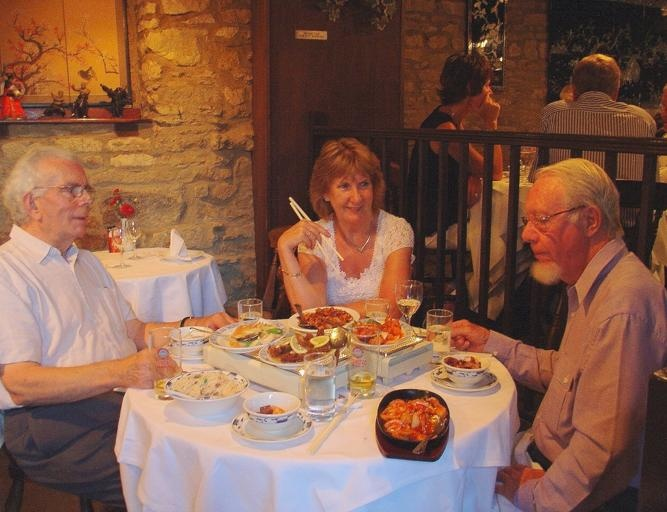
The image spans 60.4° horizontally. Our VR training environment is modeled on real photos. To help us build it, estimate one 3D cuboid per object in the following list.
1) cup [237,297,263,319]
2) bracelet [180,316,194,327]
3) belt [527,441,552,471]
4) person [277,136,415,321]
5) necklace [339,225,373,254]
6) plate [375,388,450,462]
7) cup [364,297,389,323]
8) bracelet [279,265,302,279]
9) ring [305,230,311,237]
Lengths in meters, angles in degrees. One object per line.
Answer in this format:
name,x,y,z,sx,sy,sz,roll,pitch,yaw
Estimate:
cup,-0.330,0.211,2.314,0.080,0.091,0.089,0,-1,-9
bracelet,-0.632,0.295,2.491,0.039,0.057,0.052,2,41,-7
belt,0.794,0.777,2.212,0.065,0.022,0.065,38,37,-3
person,0.071,-0.228,3.271,0.789,1.125,0.914,0,9,0
necklace,0.127,-0.087,3.166,0.185,0.141,0.057,-3,-7,1
plate,0.242,0.515,1.745,0.223,0.098,0.276,2,15,5
cup,0.162,0.219,2.244,0.067,0.090,0.087,0,2,-22
bracelet,-0.228,0.078,2.973,0.152,0.043,0.065,10,18,33
ring,-0.133,-0.117,3.011,0.022,0.031,0.012,0,3,-19
